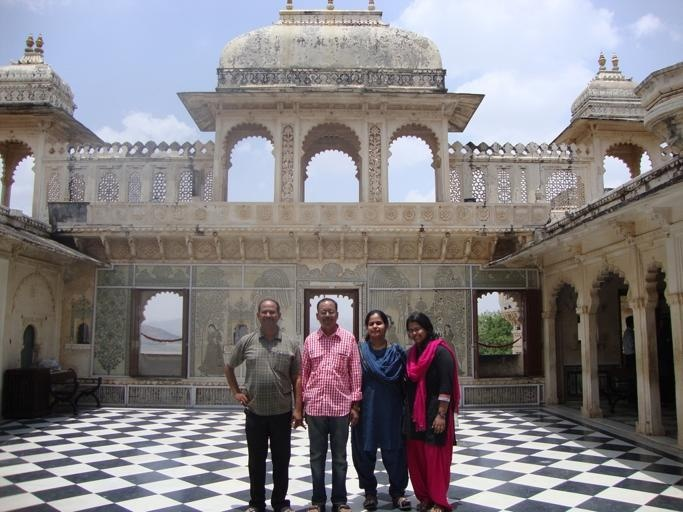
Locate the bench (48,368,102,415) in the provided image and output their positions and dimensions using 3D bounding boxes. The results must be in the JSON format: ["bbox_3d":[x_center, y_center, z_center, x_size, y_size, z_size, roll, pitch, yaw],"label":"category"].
[{"bbox_3d":[-5.754,2.948,14.502,1.007,0.923,1.489,3,-11,-19],"label":"bench"}]
